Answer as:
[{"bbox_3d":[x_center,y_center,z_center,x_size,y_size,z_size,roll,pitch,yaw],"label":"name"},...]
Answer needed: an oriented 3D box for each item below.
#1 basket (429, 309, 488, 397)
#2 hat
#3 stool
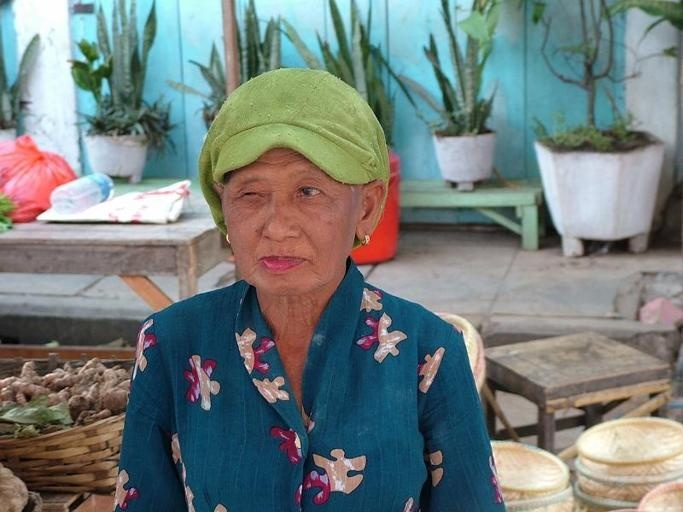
[{"bbox_3d":[0.444,0.310,2.748,0.300,0.268,0.298,1,5,-2],"label":"basket"},{"bbox_3d":[-0.108,-0.239,1.682,0.265,0.242,0.327,2,3,6],"label":"hat"},{"bbox_3d":[0.880,0.433,3.034,0.537,0.520,0.513,-14,28,-19],"label":"stool"}]
